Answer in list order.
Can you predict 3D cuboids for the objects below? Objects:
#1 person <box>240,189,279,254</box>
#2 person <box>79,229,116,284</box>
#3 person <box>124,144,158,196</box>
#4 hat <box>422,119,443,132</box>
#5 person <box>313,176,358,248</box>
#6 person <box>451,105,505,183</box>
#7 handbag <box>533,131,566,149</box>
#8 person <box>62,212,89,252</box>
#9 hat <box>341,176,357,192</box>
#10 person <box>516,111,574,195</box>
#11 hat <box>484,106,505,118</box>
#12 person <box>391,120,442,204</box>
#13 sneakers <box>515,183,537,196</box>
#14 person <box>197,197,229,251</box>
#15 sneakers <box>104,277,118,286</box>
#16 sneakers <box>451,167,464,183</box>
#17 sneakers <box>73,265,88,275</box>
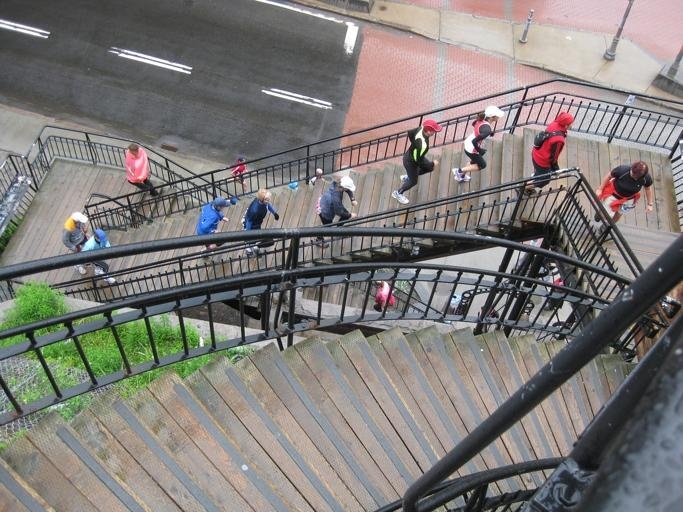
[{"bbox_3d":[-1.555,-0.569,13.614,0.572,1.438,0.429,-7,-40,10],"label":"person"},{"bbox_3d":[-4.587,0.054,13.297,0.517,0.416,1.071,13,-14,-19],"label":"person"},{"bbox_3d":[-4.667,-2.016,16.582,0.695,1.408,1.364,5,19,-16],"label":"person"},{"bbox_3d":[1.745,-2.507,13.800,0.255,0.186,0.353,16,19,17],"label":"hat"},{"bbox_3d":[-0.090,-0.788,13.578,0.721,0.712,1.420,1,-20,-4],"label":"person"},{"bbox_3d":[3.012,-2.405,15.660,1.063,0.907,2.317,-10,-23,-2],"label":"person"},{"bbox_3d":[3.914,-2.263,13.486,0.430,0.290,0.430,2,-21,8],"label":"handbag"},{"bbox_3d":[-5.606,-0.473,14.971,0.318,0.392,0.963,31,-22,-17],"label":"person"},{"bbox_3d":[0.109,-1.337,13.631,0.303,0.231,0.158,29,-37,-10],"label":"hat"},{"bbox_3d":[4.120,-2.028,14.423,0.821,1.108,2.268,-19,-23,4],"label":"person"},{"bbox_3d":[3.085,-2.823,14.343,0.403,0.222,0.324,-2,43,9],"label":"hat"},{"bbox_3d":[1.640,-1.962,15.326,1.115,0.921,2.511,-4,-20,1],"label":"person"},{"bbox_3d":[3.626,-1.316,13.984,0.325,0.112,0.234,-8,11,17],"label":"sneakers"},{"bbox_3d":[-2.651,-0.619,14.558,0.700,1.273,0.486,-25,50,-39],"label":"person"},{"bbox_3d":[-4.937,0.534,15.097,0.457,0.179,0.184,0,-7,25],"label":"sneakers"},{"bbox_3d":[2.488,-1.732,15.143,0.162,0.359,0.133,-17,31,46],"label":"sneakers"},{"bbox_3d":[-5.678,0.304,15.474,0.146,0.082,0.247,-7,-27,12],"label":"sneakers"}]
